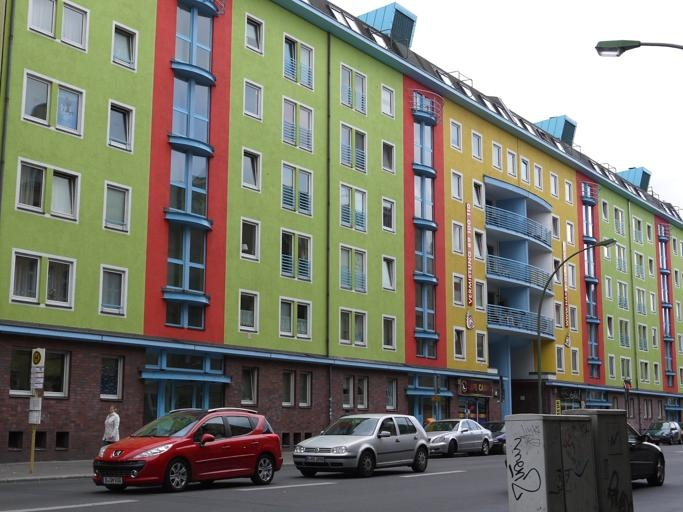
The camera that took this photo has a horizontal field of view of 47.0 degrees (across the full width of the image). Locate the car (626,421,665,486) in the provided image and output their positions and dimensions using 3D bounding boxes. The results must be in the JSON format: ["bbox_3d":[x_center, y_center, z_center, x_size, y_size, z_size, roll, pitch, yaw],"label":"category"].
[{"bbox_3d":[8.432,5.547,21.871,0.659,1.642,2.114,-12,-21,31],"label":"car"}]

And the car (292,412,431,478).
[{"bbox_3d":[0.687,5.849,24.244,4.380,1.946,1.504,14,-24,-40],"label":"car"}]

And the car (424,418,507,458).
[{"bbox_3d":[5.150,8.135,35.286,3.797,1.676,1.063,14,-23,-40],"label":"car"}]

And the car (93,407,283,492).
[{"bbox_3d":[-3.867,5.019,20.537,4.754,2.236,1.236,12,-22,-37],"label":"car"}]
